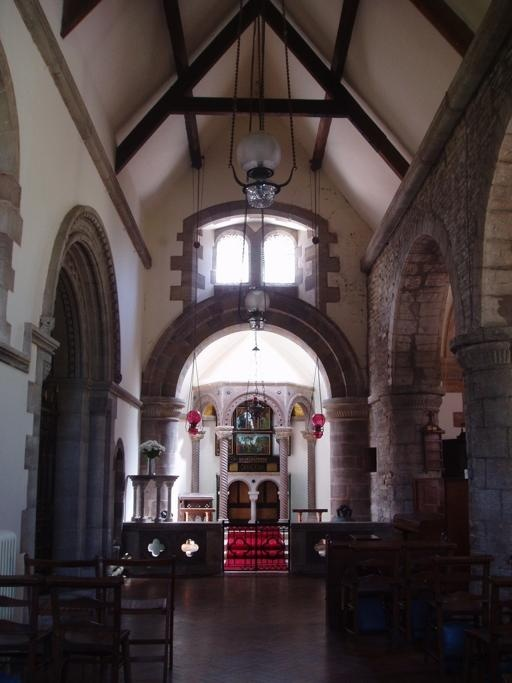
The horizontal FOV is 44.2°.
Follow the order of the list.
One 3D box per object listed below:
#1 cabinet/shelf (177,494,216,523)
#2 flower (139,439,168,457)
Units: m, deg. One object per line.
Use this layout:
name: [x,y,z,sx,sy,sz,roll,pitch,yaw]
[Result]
cabinet/shelf: [-1.525,4.122,15.715,0.853,0.649,2.676,2,-14,-7]
flower: [-1.539,1.587,9.319,0.282,0.275,0.574,1,-14,-5]
